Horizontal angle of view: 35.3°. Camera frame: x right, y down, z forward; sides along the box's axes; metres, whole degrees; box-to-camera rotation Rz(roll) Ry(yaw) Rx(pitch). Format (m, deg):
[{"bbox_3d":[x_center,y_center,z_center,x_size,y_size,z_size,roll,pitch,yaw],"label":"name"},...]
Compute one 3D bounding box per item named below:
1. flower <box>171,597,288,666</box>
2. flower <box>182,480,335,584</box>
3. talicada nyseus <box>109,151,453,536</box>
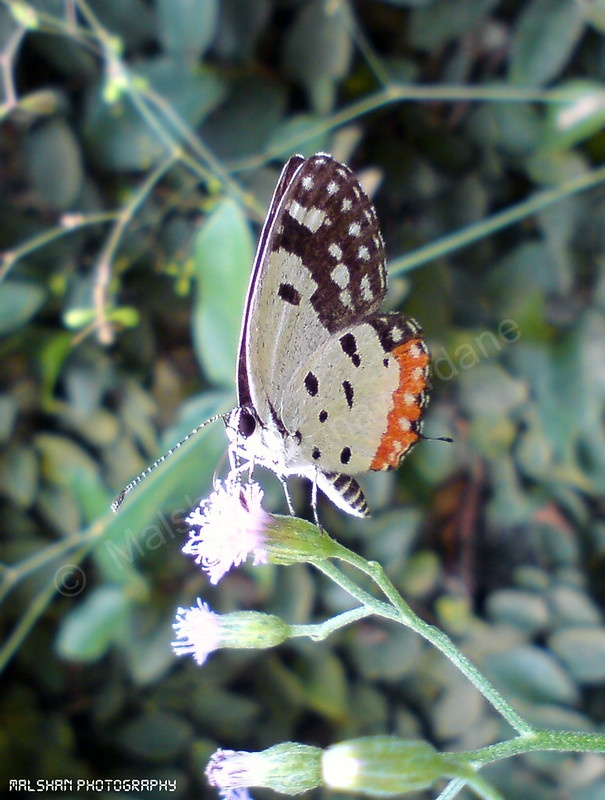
[{"bbox_3d":[-0.056,0.198,0.812,0.103,0.043,0.049,-1,52,0],"label":"flower"},{"bbox_3d":[-0.048,0.116,0.888,0.114,0.234,0.090,-19,81,-4],"label":"flower"},{"bbox_3d":[0.019,-0.048,0.918,0.415,0.302,0.336,-1,87,-1],"label":"talicada nyseus"}]
